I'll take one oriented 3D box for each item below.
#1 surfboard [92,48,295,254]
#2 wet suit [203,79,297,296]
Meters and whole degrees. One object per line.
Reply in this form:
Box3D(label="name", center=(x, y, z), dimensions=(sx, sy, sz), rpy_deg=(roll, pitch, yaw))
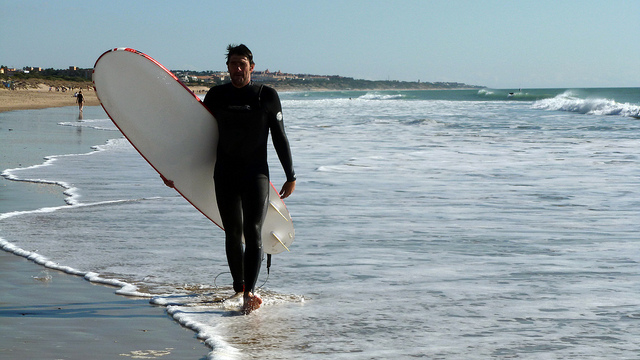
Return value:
Box3D(label="surfboard", center=(-1.896, -0.328, 11.180), dimensions=(1.880, 2.746, 1.469), rpy_deg=(0, 4, -4))
Box3D(label="wet suit", center=(-0.961, 0.089, 10.597), dimensions=(0.956, 2.713, 0.944), rpy_deg=(12, 20, 35))
